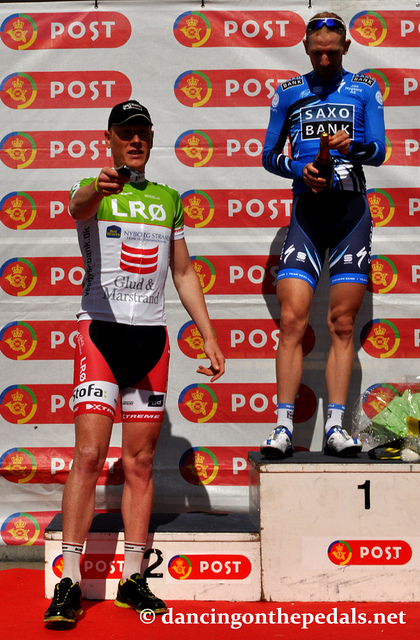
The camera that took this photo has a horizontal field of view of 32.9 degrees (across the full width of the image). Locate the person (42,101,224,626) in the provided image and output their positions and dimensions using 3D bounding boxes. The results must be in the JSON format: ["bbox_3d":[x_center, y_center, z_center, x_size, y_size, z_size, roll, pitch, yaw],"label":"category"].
[{"bbox_3d":[-0.274,0.144,2.580,0.580,1.874,0.805,3,12,-1],"label":"person"}]

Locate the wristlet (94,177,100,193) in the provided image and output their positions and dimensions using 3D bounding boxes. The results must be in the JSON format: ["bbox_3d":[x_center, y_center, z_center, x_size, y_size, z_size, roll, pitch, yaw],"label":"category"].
[{"bbox_3d":[-0.382,-0.456,2.405,0.017,0.051,0.084,1,11,-9],"label":"wristlet"}]

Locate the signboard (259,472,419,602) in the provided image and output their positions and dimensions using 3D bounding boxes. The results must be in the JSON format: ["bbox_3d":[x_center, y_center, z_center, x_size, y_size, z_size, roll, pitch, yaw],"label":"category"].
[{"bbox_3d":[0.477,0.804,2.913,0.880,0.550,0.461,0,-5,-2],"label":"signboard"}]

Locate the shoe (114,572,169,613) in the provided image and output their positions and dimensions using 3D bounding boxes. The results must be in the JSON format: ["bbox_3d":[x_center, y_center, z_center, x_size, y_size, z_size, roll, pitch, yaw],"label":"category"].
[{"bbox_3d":[-0.243,0.988,2.557,0.098,0.112,0.277,11,-15,-37],"label":"shoe"}]

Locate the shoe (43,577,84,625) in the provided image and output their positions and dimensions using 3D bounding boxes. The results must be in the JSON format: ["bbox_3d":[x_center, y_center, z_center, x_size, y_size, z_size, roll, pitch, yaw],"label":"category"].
[{"bbox_3d":[-0.500,0.959,2.441,0.103,0.103,0.246,-1,0,3],"label":"shoe"}]

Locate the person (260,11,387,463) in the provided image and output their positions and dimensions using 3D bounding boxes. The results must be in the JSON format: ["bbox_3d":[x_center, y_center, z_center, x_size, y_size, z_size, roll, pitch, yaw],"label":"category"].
[{"bbox_3d":[0.460,-0.303,3.049,0.523,1.977,0.827,4,12,3],"label":"person"}]

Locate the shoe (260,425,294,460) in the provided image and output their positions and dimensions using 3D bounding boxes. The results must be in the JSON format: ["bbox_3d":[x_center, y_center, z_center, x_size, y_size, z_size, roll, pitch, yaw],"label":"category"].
[{"bbox_3d":[0.275,0.505,2.887,0.102,0.133,0.179,8,12,22],"label":"shoe"}]

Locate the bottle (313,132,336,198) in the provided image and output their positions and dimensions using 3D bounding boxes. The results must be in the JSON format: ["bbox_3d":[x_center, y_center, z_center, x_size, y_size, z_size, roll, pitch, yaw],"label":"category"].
[{"bbox_3d":[0.468,-0.636,2.936,0.087,0.261,0.283,5,12,9],"label":"bottle"}]
